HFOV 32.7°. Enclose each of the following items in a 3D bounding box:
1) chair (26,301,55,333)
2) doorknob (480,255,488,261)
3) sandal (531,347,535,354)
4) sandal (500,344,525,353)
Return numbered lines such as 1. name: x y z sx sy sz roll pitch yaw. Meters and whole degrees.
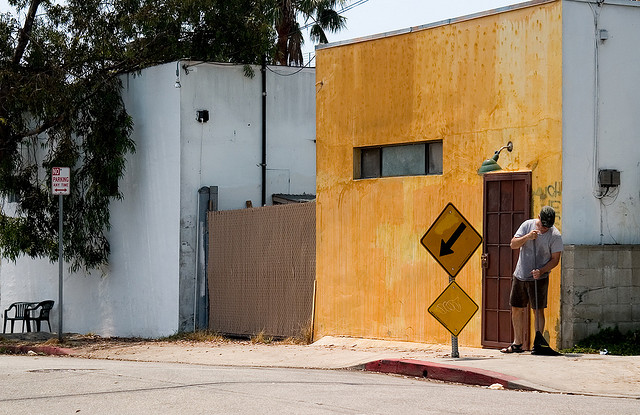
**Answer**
1. chair: -8.802 3.537 34.572 1.008 0.976 1.025 2 4 -21
2. doorknob: 3.983 1.245 26.592 0.159 0.138 0.046 0 4 31
3. sandal: 4.833 3.269 24.802 0.082 0.140 0.082 2 -1 10
4. sandal: 4.409 3.257 25.143 0.498 0.227 0.269 -1 4 10
